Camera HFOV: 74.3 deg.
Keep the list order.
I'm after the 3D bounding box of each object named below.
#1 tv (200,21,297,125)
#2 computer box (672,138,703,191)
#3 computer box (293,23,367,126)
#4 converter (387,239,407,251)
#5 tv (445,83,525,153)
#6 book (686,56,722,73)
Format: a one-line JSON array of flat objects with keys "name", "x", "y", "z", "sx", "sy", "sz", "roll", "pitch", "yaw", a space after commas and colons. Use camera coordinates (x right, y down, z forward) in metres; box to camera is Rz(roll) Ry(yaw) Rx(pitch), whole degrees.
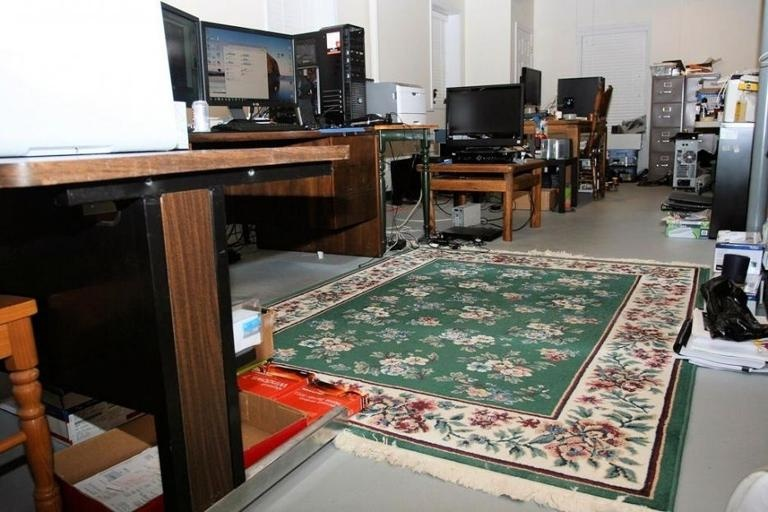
[{"name": "tv", "x": -0.822, "y": -1.118, "z": 3.116, "sx": 0.236, "sy": 0.505, "sz": 0.788, "roll": 18, "pitch": 24, "yaw": 26}, {"name": "computer box", "x": 3.917, "y": -1.190, "z": 6.564, "sx": 0.289, "sy": 0.663, "sz": 0.199, "roll": 5, "pitch": 20, "yaw": 24}, {"name": "computer box", "x": -0.414, "y": -1.355, "z": 3.887, "sx": 0.645, "sy": 0.612, "sz": 0.417, "roll": 3, "pitch": 15, "yaw": 24}, {"name": "converter", "x": 0.088, "y": -0.071, "z": 3.941, "sx": 0.116, "sy": 0.039, "sz": 0.120, "roll": 0, "pitch": 19, "yaw": 37}, {"name": "tv", "x": 0.915, "y": -1.231, "z": 4.542, "sx": 0.738, "sy": 0.540, "sz": 0.253, "roll": 3, "pitch": 11, "yaw": 28}, {"name": "book", "x": 5.027, "y": -2.997, "z": 7.969, "sx": 0.648, "sy": 0.182, "sz": 0.356, "roll": 1, "pitch": 15, "yaw": 20}]
